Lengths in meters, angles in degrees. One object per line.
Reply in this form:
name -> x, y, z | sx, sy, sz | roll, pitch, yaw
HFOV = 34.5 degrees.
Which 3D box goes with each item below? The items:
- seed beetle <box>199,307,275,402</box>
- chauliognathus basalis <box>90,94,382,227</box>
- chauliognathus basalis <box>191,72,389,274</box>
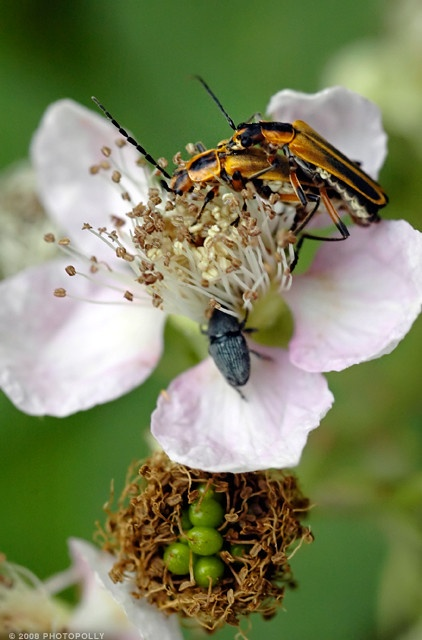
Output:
seed beetle -> 0.036, 0.038, 0.910 | 0.074, 0.110, 0.128 | -27, 71, -3
chauliognathus basalis -> 0.052, -0.189, 0.906 | 0.379, 0.243, 0.099 | 8, 90, -3
chauliognathus basalis -> 0.095, -0.195, 0.869 | 0.296, 0.214, 0.096 | 31, 99, 2
